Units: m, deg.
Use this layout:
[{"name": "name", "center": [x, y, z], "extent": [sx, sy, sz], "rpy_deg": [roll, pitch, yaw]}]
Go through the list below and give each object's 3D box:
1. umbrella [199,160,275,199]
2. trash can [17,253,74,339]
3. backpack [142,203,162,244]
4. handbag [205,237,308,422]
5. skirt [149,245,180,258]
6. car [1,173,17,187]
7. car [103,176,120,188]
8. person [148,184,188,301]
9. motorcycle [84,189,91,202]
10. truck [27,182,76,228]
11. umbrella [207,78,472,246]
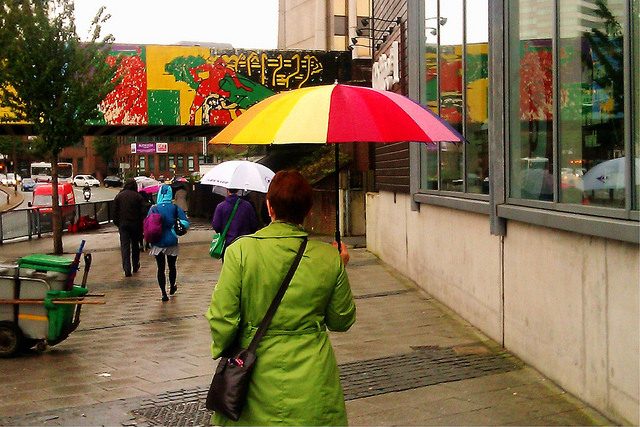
[{"name": "umbrella", "center": [-1.347, -0.667, 11.423], "extent": [0.979, 0.651, 1.000], "rpy_deg": [6, 7, 29]}, {"name": "trash can", "center": [-3.873, 1.259, 8.919], "extent": [0.770, 1.119, 0.659], "rpy_deg": [0, -16, 20]}, {"name": "backpack", "center": [-3.111, 0.164, 11.790], "extent": [0.383, 0.620, 0.638], "rpy_deg": [5, 0, -16]}, {"name": "handbag", "center": [-0.535, 0.960, 5.072], "extent": [0.788, 1.240, 0.197], "rpy_deg": [-6, 7, -27]}, {"name": "skirt", "center": [-2.862, 0.691, 11.805], "extent": [0.360, 0.187, 0.463], "rpy_deg": [4, 7, 34]}, {"name": "car", "center": [-40.836, -4.315, 82.734], "extent": [2.004, 1.556, 4.501], "rpy_deg": [-3, 10, -22]}, {"name": "car", "center": [-26.878, -4.046, 81.357], "extent": [2.376, 1.238, 1.479], "rpy_deg": [-2, 3, 10]}, {"name": "person", "center": [-2.876, 0.560, 12.045], "extent": [0.700, 2.186, 0.863], "rpy_deg": [-4, 6, -15]}, {"name": "motorcycle", "center": [-20.906, -1.712, 56.610], "extent": [0.758, 1.383, 0.324], "rpy_deg": [-3, -2, 11]}, {"name": "truck", "center": [-12.702, -0.467, 29.985], "extent": [1.579, 2.001, 3.593], "rpy_deg": [-1, 9, -11]}, {"name": "umbrella", "center": [0.218, -0.707, 6.248], "extent": [1.791, 1.178, 1.877], "rpy_deg": [0, 3, -7]}]
